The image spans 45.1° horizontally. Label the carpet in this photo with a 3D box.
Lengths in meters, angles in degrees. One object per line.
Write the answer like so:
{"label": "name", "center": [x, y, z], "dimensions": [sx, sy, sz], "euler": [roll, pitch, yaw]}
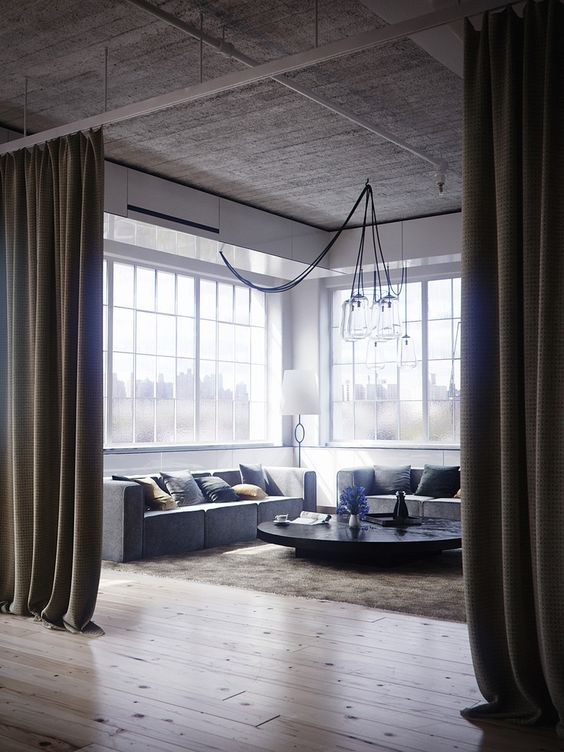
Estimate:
{"label": "carpet", "center": [0.359, 1.515, 5.209], "dimensions": [2.658, 0.078, 1.656], "euler": [-5, -9, 34]}

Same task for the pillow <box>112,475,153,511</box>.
{"label": "pillow", "center": [-1.357, 1.046, 6.155], "dimensions": [0.330, 0.148, 0.332], "euler": [4, -3, -44]}

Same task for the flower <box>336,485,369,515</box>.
{"label": "flower", "center": [0.619, 1.073, 5.856], "dimensions": [0.268, 0.291, 0.271], "euler": [-1, -9, 11]}

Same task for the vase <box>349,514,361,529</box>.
{"label": "vase", "center": [0.615, 1.237, 5.746], "dimensions": [0.094, 0.134, 0.134], "euler": [1, -12, -2]}

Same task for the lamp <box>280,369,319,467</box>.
{"label": "lamp", "center": [0.249, 0.567, 8.945], "dimensions": [0.467, 1.225, 1.105], "euler": [0, -7, 2]}

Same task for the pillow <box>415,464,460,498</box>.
{"label": "pillow", "center": [1.678, 1.145, 7.375], "dimensions": [0.478, 0.334, 0.544], "euler": [-2, -7, 19]}
